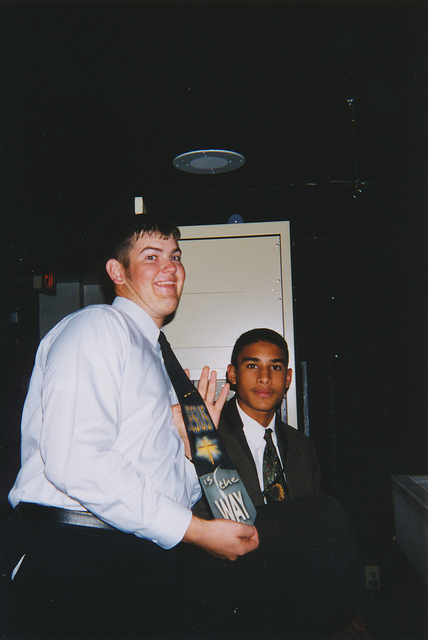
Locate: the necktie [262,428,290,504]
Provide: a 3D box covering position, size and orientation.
[{"bbox_3d":[0.185,0.449,1.892,0.076,0.214,0.068,2,3,-30],"label":"necktie"}]

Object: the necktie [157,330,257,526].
[{"bbox_3d":[-0.018,0.268,1.498,0.165,0.411,0.204,4,0,-5],"label":"necktie"}]

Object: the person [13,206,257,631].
[{"bbox_3d":[-0.199,0.221,1.520,0.606,1.132,0.564,0,0,-32],"label":"person"}]
